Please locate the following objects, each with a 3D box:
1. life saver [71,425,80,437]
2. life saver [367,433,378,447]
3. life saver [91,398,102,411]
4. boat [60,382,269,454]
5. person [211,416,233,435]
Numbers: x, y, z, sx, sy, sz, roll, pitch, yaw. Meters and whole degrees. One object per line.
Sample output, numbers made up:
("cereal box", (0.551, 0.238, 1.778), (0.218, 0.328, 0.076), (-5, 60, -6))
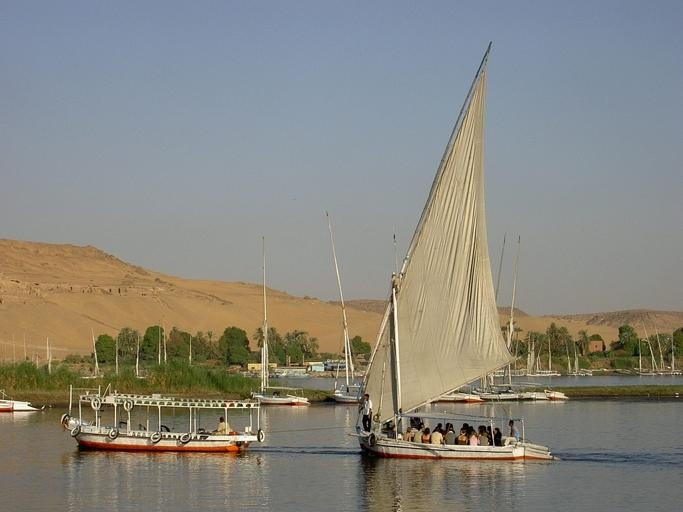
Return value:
("life saver", (-15.109, 9.922, 63.506), (0.462, 0.620, 0.833), (5, -13, -21))
("life saver", (1.634, 10.008, 60.556), (0.564, 0.616, 0.193), (-7, -6, 18))
("life saver", (-13.786, 8.311, 62.796), (0.546, 0.802, 2.472), (3, -13, -12))
("boat", (-9.845, 9.456, 64.346), (11.883, 3.727, 3.932), (2, -10, 5))
("person", (-6.705, 9.630, 63.153), (0.924, 0.983, 0.959), (0, -11, 2))
